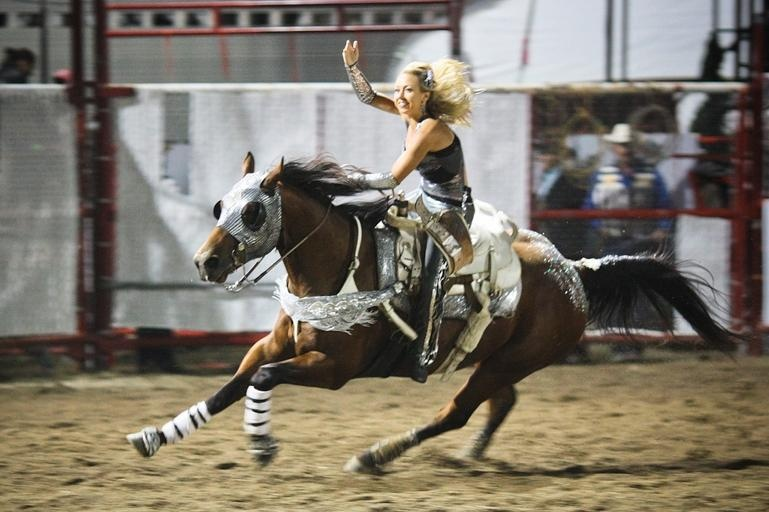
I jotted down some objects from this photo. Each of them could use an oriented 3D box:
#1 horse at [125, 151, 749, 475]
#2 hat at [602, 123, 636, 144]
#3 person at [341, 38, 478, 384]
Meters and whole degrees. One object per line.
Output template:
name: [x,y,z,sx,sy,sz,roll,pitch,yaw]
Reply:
horse: [0.502,0.690,15.072,7.118,2.772,1.473,4,3,-37]
hat: [2.552,-1.304,17.223,0.286,0.078,0.268,-13,18,-36]
person: [0.248,-0.387,14.382,1.528,2.973,0.942,2,11,17]
